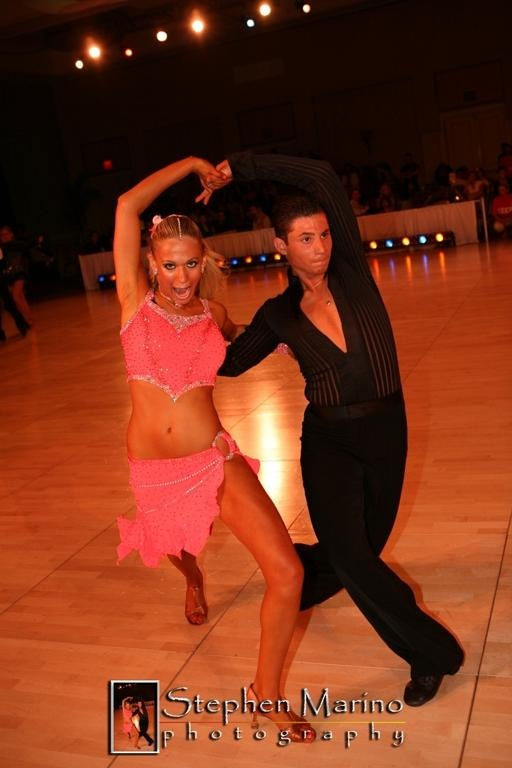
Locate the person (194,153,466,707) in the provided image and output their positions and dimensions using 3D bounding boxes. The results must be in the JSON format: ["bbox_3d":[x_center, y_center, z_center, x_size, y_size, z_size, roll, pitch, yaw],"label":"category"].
[{"bbox_3d":[0.221,0.064,1.551,0.340,1.422,0.572,-11,10,4],"label":"person"}]

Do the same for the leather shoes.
[{"bbox_3d":[0.429,0.694,1.447,0.072,0.183,0.087,19,-15,49],"label":"leather shoes"}]

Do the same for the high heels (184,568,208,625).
[{"bbox_3d":[-0.203,0.721,2.050,0.071,0.169,0.066,-8,-18,1],"label":"high heels"}]
